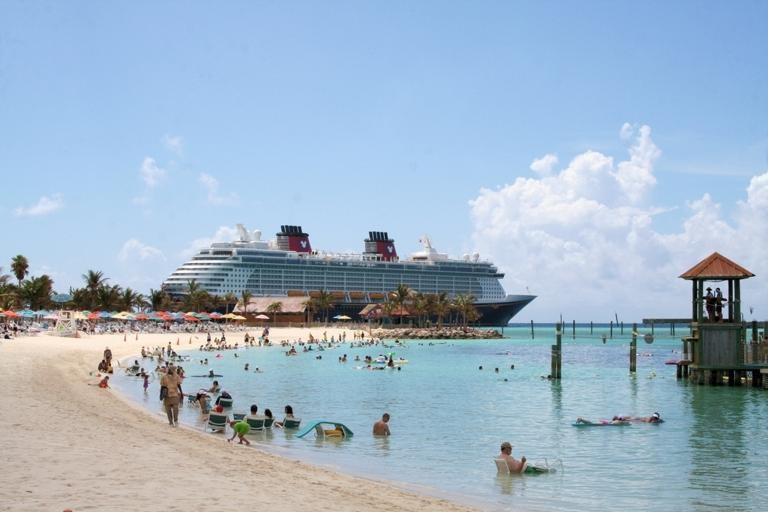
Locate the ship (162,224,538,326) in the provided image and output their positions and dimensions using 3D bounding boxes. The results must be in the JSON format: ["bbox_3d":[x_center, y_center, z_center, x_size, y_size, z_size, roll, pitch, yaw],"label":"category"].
[{"bbox_3d":[-9.911,4.991,125.801,72.741,12.937,16.988,-1,4,2],"label":"ship"}]

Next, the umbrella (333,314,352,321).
[{"bbox_3d":[-6.333,9.289,117.273,1.836,0.696,1.736,0,-6,12],"label":"umbrella"}]

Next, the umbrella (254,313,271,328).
[{"bbox_3d":[-18.286,9.827,117.374,2.294,1.553,2.317,5,0,17],"label":"umbrella"}]

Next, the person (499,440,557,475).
[{"bbox_3d":[4.700,6.742,25.956,1.792,0.995,0.937,5,-10,-25],"label":"person"}]
